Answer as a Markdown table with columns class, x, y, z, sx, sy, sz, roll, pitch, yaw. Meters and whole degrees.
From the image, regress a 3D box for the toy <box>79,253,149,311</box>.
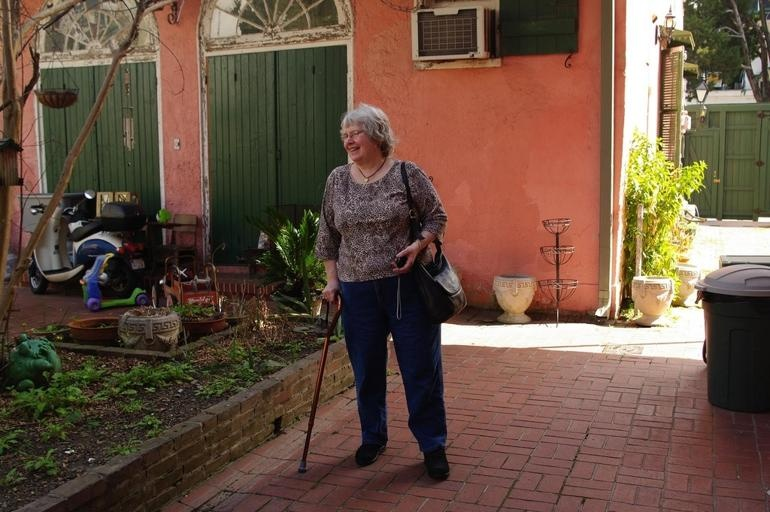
| class | x | y | z | sx | sy | sz | roll | pitch | yaw |
| --- | --- | --- | --- | --- | --- | --- | --- | --- | --- |
| toy | -4.314 | 0.369 | 9.782 | 1.406 | 0.893 | 0.722 | -1 | 6 | 14 |

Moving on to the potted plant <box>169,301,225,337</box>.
| class | x | y | z | sx | sy | sz | roll | pitch | yaw |
| --- | --- | --- | --- | --- | --- | --- | --- | --- | --- |
| potted plant | -2.194 | 0.727 | 7.173 | 0.642 | 0.312 | 0.671 | 8 | 8 | 29 |

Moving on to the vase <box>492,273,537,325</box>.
| class | x | y | z | sx | sy | sz | roll | pitch | yaw |
| --- | --- | --- | --- | --- | --- | --- | --- | --- | --- |
| vase | 1.788 | 0.586 | 8.753 | 0.601 | 0.644 | 0.622 | 1 | -1 | 0 |

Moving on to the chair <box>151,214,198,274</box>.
| class | x | y | z | sx | sy | sz | roll | pitch | yaw |
| --- | --- | --- | --- | --- | --- | --- | --- | --- | --- |
| chair | -3.542 | -0.249 | 10.684 | 0.833 | 0.909 | 1.237 | -4 | 12 | -17 |

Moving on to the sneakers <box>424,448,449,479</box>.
| class | x | y | z | sx | sy | sz | roll | pitch | yaw |
| --- | --- | --- | --- | --- | --- | --- | --- | --- | --- |
| sneakers | 0.402 | 1.641 | 4.940 | 0.108 | 0.132 | 0.303 | 0 | -5 | -12 |

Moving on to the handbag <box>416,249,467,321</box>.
| class | x | y | z | sx | sy | sz | roll | pitch | yaw |
| --- | --- | --- | --- | --- | --- | --- | --- | --- | --- |
| handbag | 0.447 | 0.217 | 4.842 | 0.280 | 0.568 | 0.379 | 9 | 15 | 40 |

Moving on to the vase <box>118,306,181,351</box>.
| class | x | y | z | sx | sy | sz | roll | pitch | yaw |
| --- | --- | --- | --- | --- | --- | --- | --- | --- | --- |
| vase | -2.431 | 0.809 | 6.491 | 0.585 | 0.458 | 0.602 | 4 | 5 | 40 |

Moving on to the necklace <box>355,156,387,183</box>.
| class | x | y | z | sx | sy | sz | roll | pitch | yaw |
| --- | --- | --- | --- | --- | --- | --- | --- | --- | --- |
| necklace | -0.113 | -0.674 | 4.866 | 0.212 | 0.155 | 0.104 | -1 | 11 | -3 |
